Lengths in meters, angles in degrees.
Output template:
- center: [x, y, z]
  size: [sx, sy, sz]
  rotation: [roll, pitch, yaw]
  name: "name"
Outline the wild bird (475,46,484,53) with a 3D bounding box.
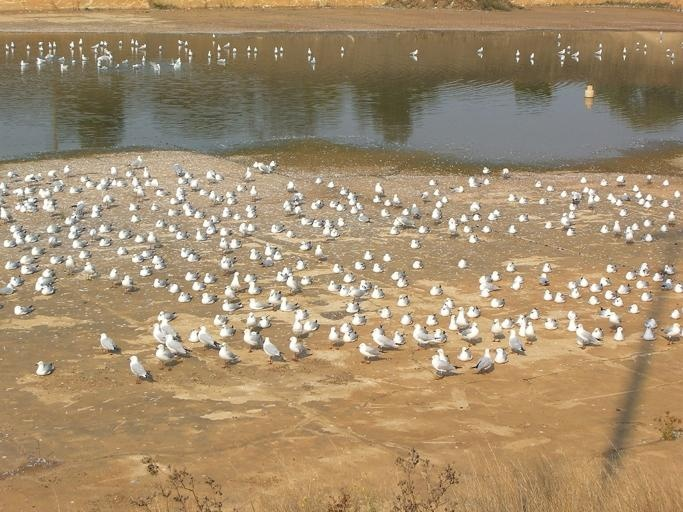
- center: [13.240, -19.632, 86.525]
  size: [0.681, 0.325, 1.647]
  rotation: [3, 19, 17]
  name: "wild bird"
